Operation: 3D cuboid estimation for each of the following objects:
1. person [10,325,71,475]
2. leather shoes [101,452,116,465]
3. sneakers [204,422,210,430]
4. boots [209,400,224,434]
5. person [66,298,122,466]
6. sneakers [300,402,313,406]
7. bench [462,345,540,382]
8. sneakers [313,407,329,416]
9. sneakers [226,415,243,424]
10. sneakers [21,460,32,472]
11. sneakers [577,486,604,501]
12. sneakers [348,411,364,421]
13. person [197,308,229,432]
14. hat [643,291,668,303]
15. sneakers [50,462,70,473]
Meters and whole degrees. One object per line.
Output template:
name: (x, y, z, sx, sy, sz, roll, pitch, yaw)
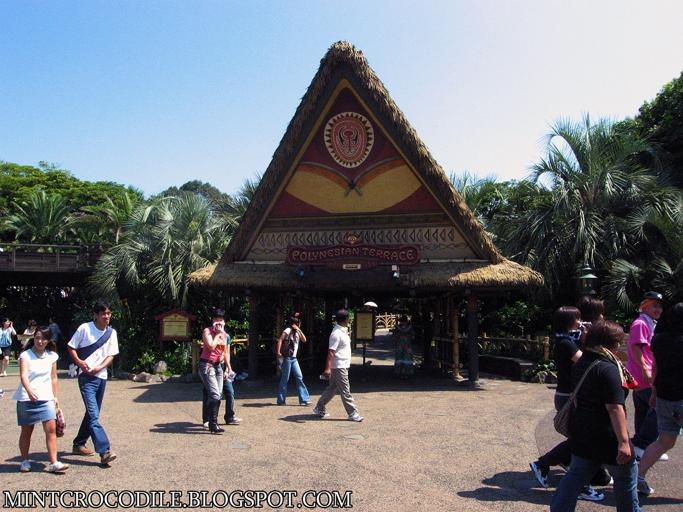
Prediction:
person: (-4.490, 2.130, 8.420, 0.675, 2.093, 0.700, 2, -8, -32)
leather shoes: (-3.542, 3.053, 8.518, 0.115, 0.165, 0.349, 2, -25, -41)
sneakers: (-2.526, 3.144, 10.477, 0.154, 0.142, 0.175, 1, -8, 3)
boots: (-2.365, 2.968, 10.571, 0.277, 0.592, 0.678, 0, -8, -13)
person: (-3.988, 1.998, 9.040, 0.708, 2.467, 1.342, 1, -8, -27)
sneakers: (-0.816, 3.394, 13.102, 0.278, 0.145, 0.108, -3, 0, 2)
bench: (5.293, 3.573, 18.337, 0.949, 0.692, 3.512, -3, -8, 0)
sneakers: (-0.434, 3.210, 11.598, 0.325, 0.178, 0.154, 9, 14, 9)
sneakers: (-2.102, 3.180, 11.053, 0.277, 0.154, 0.133, -1, 0, 0)
sneakers: (-4.643, 3.080, 8.281, 0.089, 0.102, 0.217, 4, -17, -28)
sneakers: (3.303, 3.141, 7.544, 0.367, 0.206, 0.178, -2, 1, 1)
sneakers: (0.276, 3.159, 11.182, 0.138, 0.170, 0.303, 7, -12, -40)
person: (-2.415, 2.133, 10.639, 0.505, 2.263, 0.622, 0, -7, -15)
hat: (4.695, 0.606, 8.583, 0.245, 0.107, 0.275, 4, 0, 7)
sneakers: (-4.110, 3.052, 8.236, 0.317, 0.171, 0.127, 0, -1, 0)
